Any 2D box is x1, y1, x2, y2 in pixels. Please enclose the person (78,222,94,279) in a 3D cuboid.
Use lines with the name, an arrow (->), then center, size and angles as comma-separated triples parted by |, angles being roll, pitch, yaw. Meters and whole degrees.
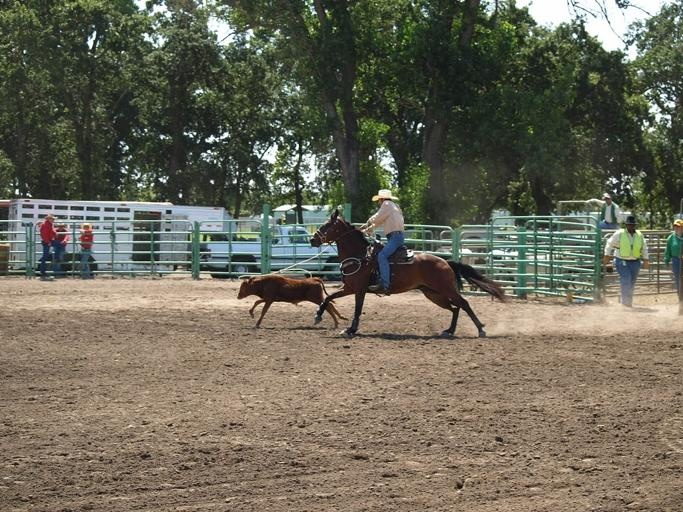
person -> -8.223, -0.154, 32.613 | 0.484, 1.897, 1.411 | -4, 11, -14

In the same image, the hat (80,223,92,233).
hat -> -8.128, -0.919, 32.242 | 0.317, 0.282, 0.493 | -5, 11, -19

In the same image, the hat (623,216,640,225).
hat -> 6.797, -0.861, 23.801 | 0.340, 0.123, 0.341 | 2, 1, 11

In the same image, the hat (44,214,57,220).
hat -> -9.127, -1.213, 31.684 | 0.314, 0.175, 0.399 | 6, 3, -1

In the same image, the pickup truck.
pickup truck -> -2.325, -0.072, 32.000 | 4.237, 1.489, 1.938 | -1, 1, 2

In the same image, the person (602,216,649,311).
person -> 6.718, 0.101, 23.908 | 0.987, 2.164, 1.088 | 1, 11, 14

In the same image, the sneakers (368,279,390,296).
sneakers -> 0.751, 0.679, 20.269 | 0.380, 0.177, 0.225 | 1, -5, 16

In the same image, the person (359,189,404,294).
person -> 0.861, -0.281, 20.338 | 0.774, 2.056, 0.843 | -1, 11, 2
